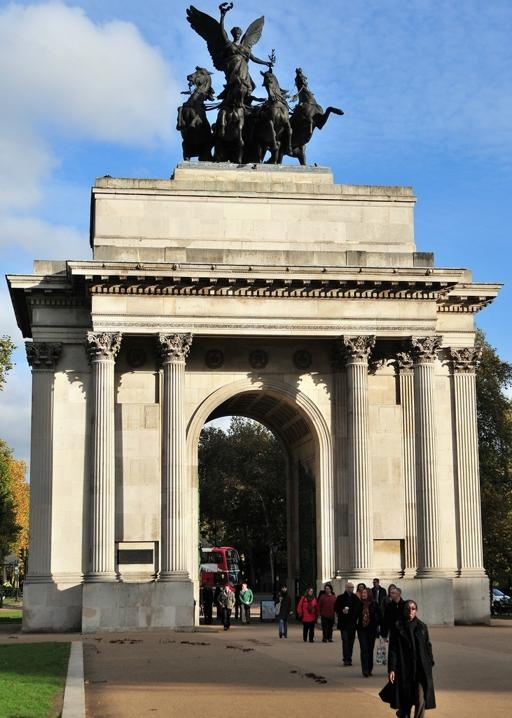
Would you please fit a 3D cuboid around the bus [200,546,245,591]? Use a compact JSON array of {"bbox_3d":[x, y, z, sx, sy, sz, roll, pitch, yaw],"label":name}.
[{"bbox_3d":[-2.014,11.826,67.918,1.842,2.896,5.168,4,-17,-18],"label":"bus"}]
